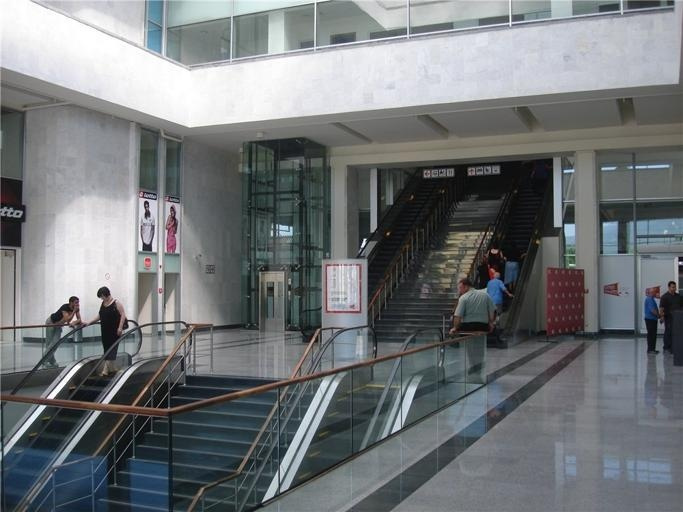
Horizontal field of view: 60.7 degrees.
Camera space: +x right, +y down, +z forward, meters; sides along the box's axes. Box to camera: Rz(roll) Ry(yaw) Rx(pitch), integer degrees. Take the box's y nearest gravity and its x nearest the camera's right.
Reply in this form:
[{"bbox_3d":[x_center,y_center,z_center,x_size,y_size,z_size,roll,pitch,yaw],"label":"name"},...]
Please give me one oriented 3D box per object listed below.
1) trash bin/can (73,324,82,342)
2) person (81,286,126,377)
[{"bbox_3d":[-5.103,1.490,11.404,0.167,0.300,0.252,3,12,-23],"label":"trash bin/can"},{"bbox_3d":[-4.333,1.375,11.018,0.475,1.697,0.467,3,11,-22],"label":"person"}]
